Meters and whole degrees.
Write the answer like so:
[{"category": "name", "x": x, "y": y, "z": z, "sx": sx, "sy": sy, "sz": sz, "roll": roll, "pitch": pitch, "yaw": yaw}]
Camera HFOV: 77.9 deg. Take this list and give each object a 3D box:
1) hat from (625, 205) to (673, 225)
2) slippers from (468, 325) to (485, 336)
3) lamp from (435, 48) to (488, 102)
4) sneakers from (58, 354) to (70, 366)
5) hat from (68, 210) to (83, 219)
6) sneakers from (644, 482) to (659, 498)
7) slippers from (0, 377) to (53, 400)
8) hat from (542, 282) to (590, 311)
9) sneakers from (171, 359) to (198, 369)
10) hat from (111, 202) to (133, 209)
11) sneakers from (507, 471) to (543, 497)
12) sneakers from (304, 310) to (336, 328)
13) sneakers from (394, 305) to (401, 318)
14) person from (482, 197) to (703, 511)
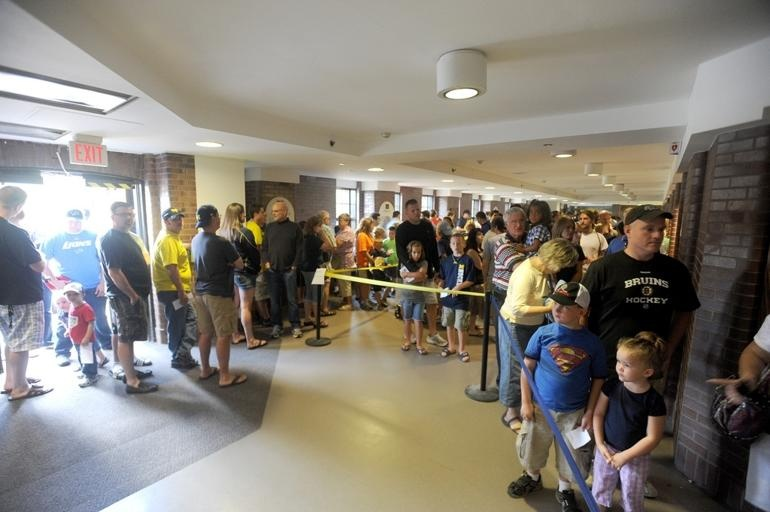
[{"category": "hat", "x": 2.383, "y": -0.364, "z": 4.411, "sx": 0.209, "sy": 0.135, "sz": 0.274, "roll": -1, "pitch": 1, "yaw": -7}, {"category": "slippers", "x": 1.484, "y": 1.231, "z": 7.807, "sx": 0.121, "sy": 0.135, "sz": 0.362, "roll": -1, "pitch": 1, "yaw": -15}, {"category": "lamp", "x": 0.814, "y": -1.904, "z": 5.070, "sx": 0.549, "sy": 0.372, "sz": 0.527, "roll": -1, "pitch": 1, "yaw": -16}, {"category": "sneakers", "x": -4.501, "y": 1.479, "z": 6.685, "sx": 0.187, "sy": 0.081, "sz": 0.112, "roll": 1, "pitch": -3, "yaw": 32}, {"category": "hat", "x": -4.261, "y": -0.577, "z": 6.554, "sx": 0.136, "sy": 0.043, "sz": 0.131, "roll": 12, "pitch": 17, "yaw": -11}, {"category": "sneakers", "x": 2.609, "y": 2.302, "z": 4.675, "sx": 0.082, "sy": 0.065, "sz": 0.173, "roll": -3, "pitch": -4, "yaw": 6}, {"category": "slippers", "x": -4.394, "y": 1.636, "z": 5.845, "sx": 0.238, "sy": 0.148, "sz": 0.478, "roll": 7, "pitch": 4, "yaw": 25}, {"category": "hat", "x": 1.660, "y": 0.375, "z": 4.323, "sx": 0.322, "sy": 0.165, "sz": 0.227, "roll": 2, "pitch": 5, "yaw": -2}, {"category": "sneakers", "x": -2.767, "y": 1.502, "z": 6.578, "sx": 0.379, "sy": 0.149, "sz": 0.124, "roll": 1, "pitch": 5, "yaw": -15}, {"category": "hat", "x": -3.312, "y": -0.636, "z": 5.963, "sx": 0.122, "sy": 0.050, "sz": 0.132, "roll": 10, "pitch": 24, "yaw": 38}, {"category": "sneakers", "x": 1.365, "y": 2.248, "z": 4.739, "sx": 0.377, "sy": 0.160, "sz": 0.162, "roll": -7, "pitch": 12, "yaw": -18}, {"category": "sneakers", "x": -1.168, "y": 1.103, "z": 8.128, "sx": 0.562, "sy": 0.207, "sz": 0.191, "roll": 0, "pitch": 1, "yaw": 38}, {"category": "sneakers", "x": 0.240, "y": 1.034, "z": 8.752, "sx": 0.154, "sy": 0.200, "sz": 0.212, "roll": 3, "pitch": 6, "yaw": 20}, {"category": "person", "x": 2.400, "y": 0.936, "z": 4.526, "sx": 0.991, "sy": 2.819, "sz": 0.479, "roll": 0, "pitch": 6, "yaw": -7}]
